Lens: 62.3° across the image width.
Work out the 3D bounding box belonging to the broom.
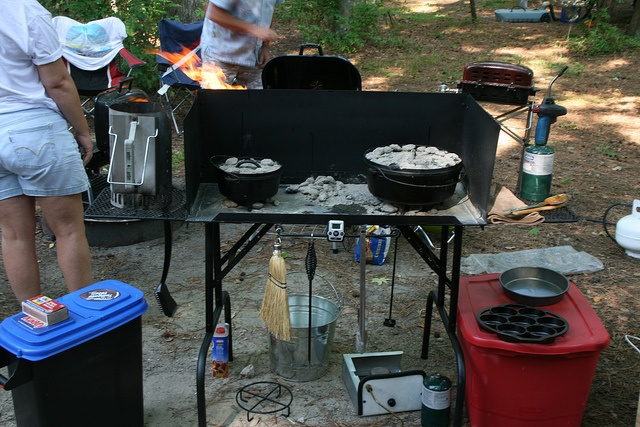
[{"bbox_3d":[-0.255,0.477,3.402,0.154,0.642,0.370,-5,13,-19],"label":"broom"}]

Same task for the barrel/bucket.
[{"bbox_3d":[-0.097,0.780,3.819,0.737,0.644,0.657,0,13,-5],"label":"barrel/bucket"}]

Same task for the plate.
[{"bbox_3d":[1.315,0.449,3.300,0.386,0.076,0.343,-12,25,-19],"label":"plate"}]

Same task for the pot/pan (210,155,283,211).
[{"bbox_3d":[-0.451,-0.214,3.318,0.403,0.180,0.393,2,20,5],"label":"pot/pan"}]

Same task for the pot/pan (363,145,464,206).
[{"bbox_3d":[0.625,-0.277,3.420,0.645,0.204,0.568,7,28,13],"label":"pot/pan"}]
